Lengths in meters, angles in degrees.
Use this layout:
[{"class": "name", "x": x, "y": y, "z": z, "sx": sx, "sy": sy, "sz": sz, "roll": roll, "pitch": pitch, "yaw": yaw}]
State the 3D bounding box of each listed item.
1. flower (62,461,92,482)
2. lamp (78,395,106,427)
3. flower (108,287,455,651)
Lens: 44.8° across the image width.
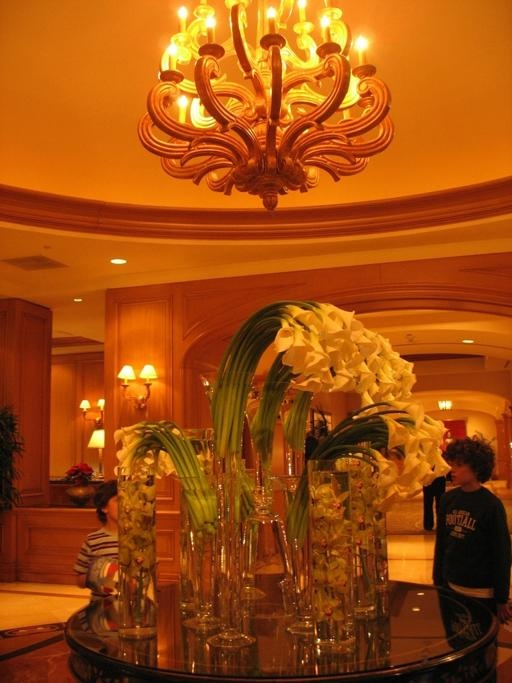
[{"class": "flower", "x": -2.151, "y": 1.601, "z": 7.452, "sx": 0.327, "sy": 0.232, "sz": 0.163, "roll": 2, "pitch": -3, "yaw": 22}, {"class": "lamp", "x": -3.010, "y": 1.283, "z": 11.150, "sx": 0.536, "sy": 0.529, "sz": 0.307, "roll": 3, "pitch": -3, "yaw": 8}, {"class": "flower", "x": 0.074, "y": 0.256, "z": 1.194, "sx": 0.673, "sy": 0.606, "sz": 0.487, "roll": -6, "pitch": -17, "yaw": 18}]
